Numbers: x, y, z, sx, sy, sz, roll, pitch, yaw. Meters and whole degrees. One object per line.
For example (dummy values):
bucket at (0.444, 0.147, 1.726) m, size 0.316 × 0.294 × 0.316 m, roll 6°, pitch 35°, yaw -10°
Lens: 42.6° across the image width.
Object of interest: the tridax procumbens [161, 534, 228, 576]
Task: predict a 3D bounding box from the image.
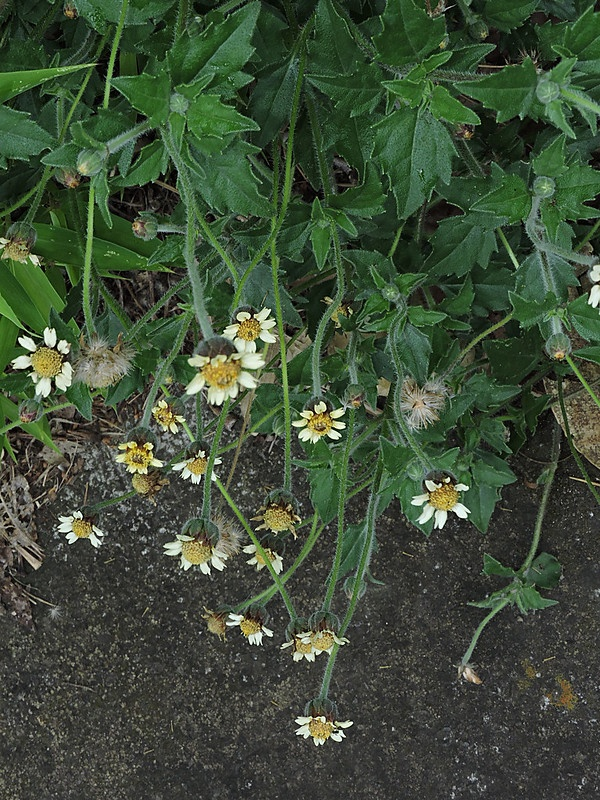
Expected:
tridax procumbens at (-0.174, 0.272, 1.335) m, size 0.097 × 0.180 × 0.048 m, roll 28°, pitch 66°, yaw 11°

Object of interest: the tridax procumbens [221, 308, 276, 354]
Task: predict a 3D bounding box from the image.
tridax procumbens at (-0.084, -0.098, 1.214) m, size 0.088 × 0.078 × 0.039 m, roll -10°, pitch 28°, yaw -9°

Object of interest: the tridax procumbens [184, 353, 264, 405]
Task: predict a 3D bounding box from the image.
tridax procumbens at (-0.110, -0.037, 1.091) m, size 0.087 × 0.044 × 0.088 m, roll 29°, pitch 90°, yaw -28°

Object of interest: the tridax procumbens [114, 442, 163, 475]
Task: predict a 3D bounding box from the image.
tridax procumbens at (-0.277, 0.103, 1.357) m, size 0.078 × 0.099 × 0.040 m, roll 11°, pitch 64°, yaw 3°

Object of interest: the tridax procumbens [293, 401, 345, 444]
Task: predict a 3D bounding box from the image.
tridax procumbens at (0.030, 0.037, 1.288) m, size 0.083 × 0.082 × 0.049 m, roll 1°, pitch 63°, yaw -2°
